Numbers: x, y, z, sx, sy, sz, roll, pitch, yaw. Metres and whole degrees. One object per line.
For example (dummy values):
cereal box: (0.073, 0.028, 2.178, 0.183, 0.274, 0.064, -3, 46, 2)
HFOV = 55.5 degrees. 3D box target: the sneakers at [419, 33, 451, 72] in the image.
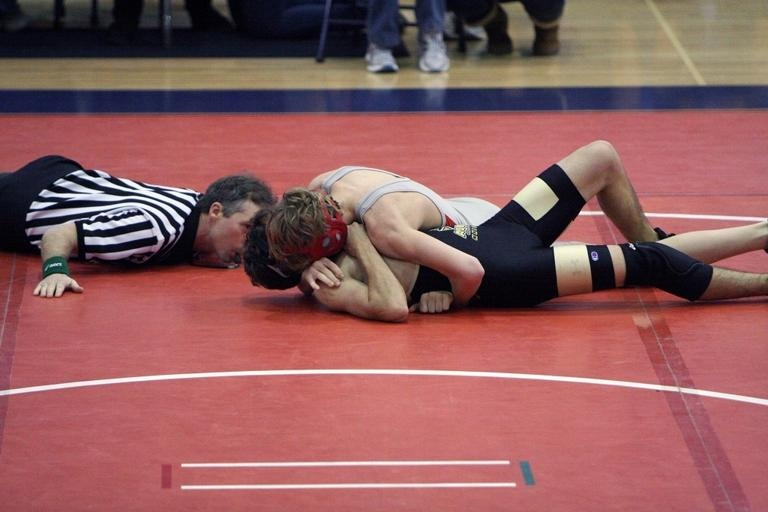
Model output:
sneakers: (0.401, -1.546, 5.598, 0.177, 0.148, 0.381, -2, 32, 2)

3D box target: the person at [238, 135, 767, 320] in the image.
person: (0.577, -0.109, 3.087, 2.090, 0.676, 0.805, -12, 7, -12)

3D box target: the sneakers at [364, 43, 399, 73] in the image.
sneakers: (-0.007, -1.489, 5.541, 0.154, 0.122, 0.319, -4, 16, -17)

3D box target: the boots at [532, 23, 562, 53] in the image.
boots: (1.326, -1.755, 5.904, 0.232, 0.262, 0.185, 9, 34, 7)

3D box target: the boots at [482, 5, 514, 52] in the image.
boots: (0.920, -1.803, 5.916, 0.182, 0.434, 0.241, 2, 2, 27)

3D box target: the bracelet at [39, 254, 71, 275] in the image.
bracelet: (-1.340, 0.036, 2.985, 0.092, 0.056, 0.089, -3, -7, 30)
